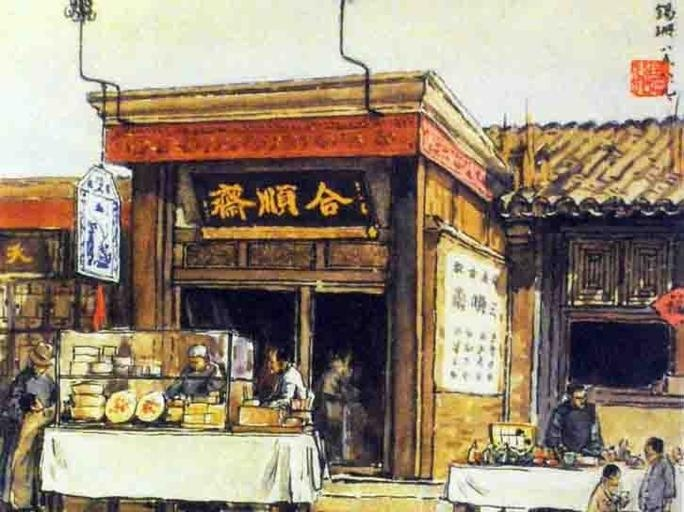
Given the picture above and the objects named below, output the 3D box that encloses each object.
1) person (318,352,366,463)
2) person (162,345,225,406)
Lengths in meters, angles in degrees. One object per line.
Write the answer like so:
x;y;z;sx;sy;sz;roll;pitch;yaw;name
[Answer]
0.030;2.138;24.344;0.724;1.540;0.186;-3;-8;26;person
-2.067;1.556;23.475;0.931;0.786;0.567;-1;3;-31;person
